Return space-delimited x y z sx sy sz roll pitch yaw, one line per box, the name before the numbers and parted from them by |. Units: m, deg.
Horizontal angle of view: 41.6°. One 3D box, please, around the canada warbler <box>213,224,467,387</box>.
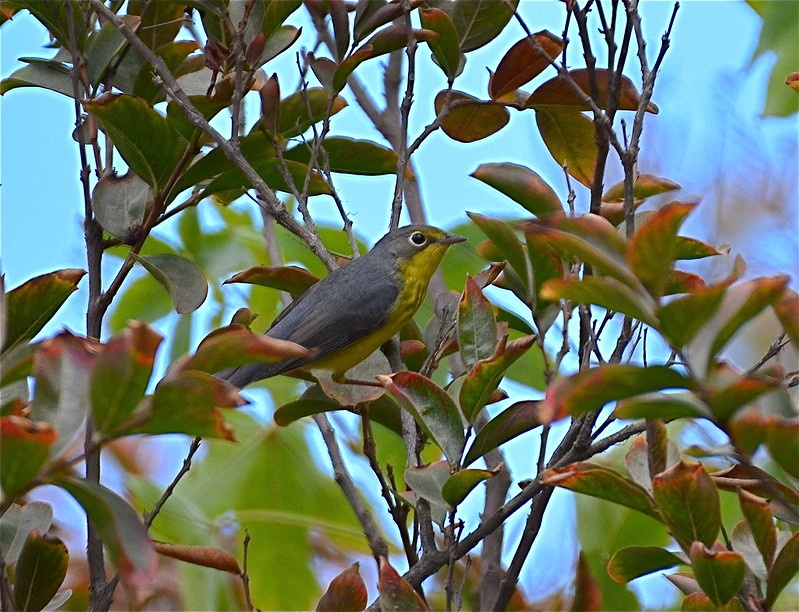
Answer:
canada warbler | -0.226 -0.020 5.367 1.640 0.932 0.558 -11 9 -18
